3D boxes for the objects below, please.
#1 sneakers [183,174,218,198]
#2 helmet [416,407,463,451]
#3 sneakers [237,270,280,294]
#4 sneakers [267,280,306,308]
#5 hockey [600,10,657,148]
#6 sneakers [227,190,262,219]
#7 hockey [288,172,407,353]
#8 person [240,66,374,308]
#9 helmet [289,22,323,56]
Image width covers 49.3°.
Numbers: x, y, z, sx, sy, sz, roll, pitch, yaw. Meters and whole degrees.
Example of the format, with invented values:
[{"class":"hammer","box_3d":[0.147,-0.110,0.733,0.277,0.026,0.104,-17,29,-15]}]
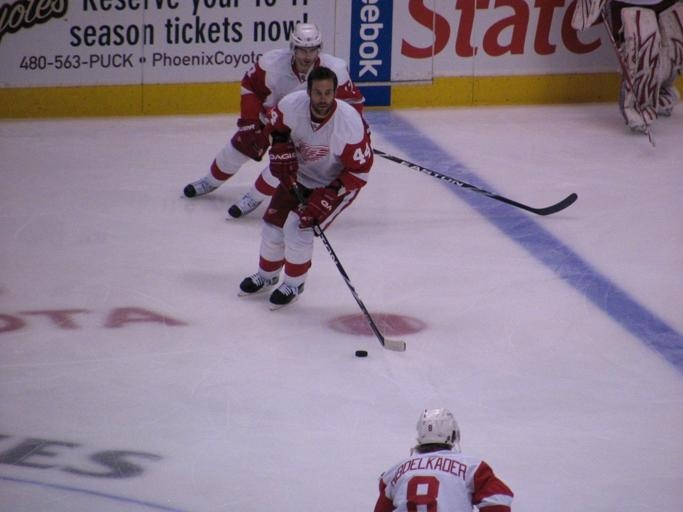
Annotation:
[{"class":"sneakers","box_3d":[-1.017,-0.495,5.401,0.306,0.115,0.129,-23,0,-10]},{"class":"helmet","box_3d":[0.368,0.631,2.785,0.127,0.160,0.162,1,12,13]},{"class":"sneakers","box_3d":[-0.475,0.143,4.299,0.272,0.101,0.112,-14,-30,-27]},{"class":"sneakers","box_3d":[-0.310,0.191,4.215,0.093,0.109,0.250,28,34,23]},{"class":"hockey","box_3d":[2.641,-1.634,6.803,0.121,1.450,0.095,-5,-13,-40]},{"class":"sneakers","box_3d":[-0.663,-0.350,5.169,0.298,0.125,0.117,-39,-1,-3]},{"class":"hockey","box_3d":[0.015,0.064,4.284,0.102,1.182,0.169,-41,-15,27]},{"class":"person","box_3d":[-0.180,-0.340,4.084,0.506,1.242,0.815,7,-6,-29]},{"class":"helmet","box_3d":[-0.221,-1.318,4.458,0.186,0.199,0.183,4,-5,2]}]
